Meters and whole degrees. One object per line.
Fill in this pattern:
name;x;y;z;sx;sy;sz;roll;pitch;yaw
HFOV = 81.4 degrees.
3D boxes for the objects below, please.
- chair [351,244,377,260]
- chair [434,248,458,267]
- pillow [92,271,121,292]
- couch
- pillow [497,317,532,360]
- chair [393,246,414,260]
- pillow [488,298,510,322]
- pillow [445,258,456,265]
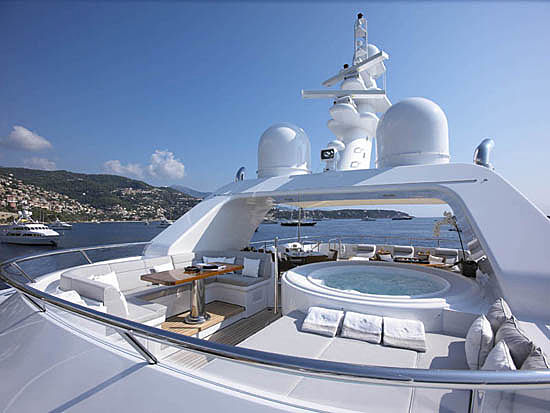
chair;2.983;1.587;10.750;0.623;0.479;0.920;-3;-5;24
chair;5.098;1.553;9.396;0.639;0.272;0.771;2;4;19
pillow;-2.864;1.364;5.420;0.401;0.333;0.511;-2;4;-26
couch;-1.999;1.484;5.552;1.412;0.830;2.701;-8;-8;38
pillow;2.084;1.270;2.888;0.207;0.184;0.290;6;3;16
chair;4.000;1.485;9.942;0.633;0.301;0.551;0;3;19
pillow;2.405;1.174;3.434;0.172;0.229;0.308;20;4;29
pillow;5.073;1.678;9.259;0.246;0.089;0.649;1;3;30
